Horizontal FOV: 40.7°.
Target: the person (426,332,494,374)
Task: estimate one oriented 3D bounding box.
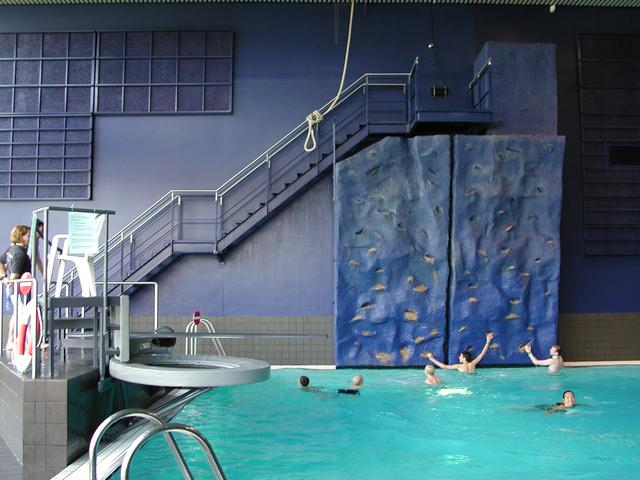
[{"bbox_3d":[2.665,2.116,16.360,1.178,0.759,0.932,4,-4,33],"label":"person"}]
